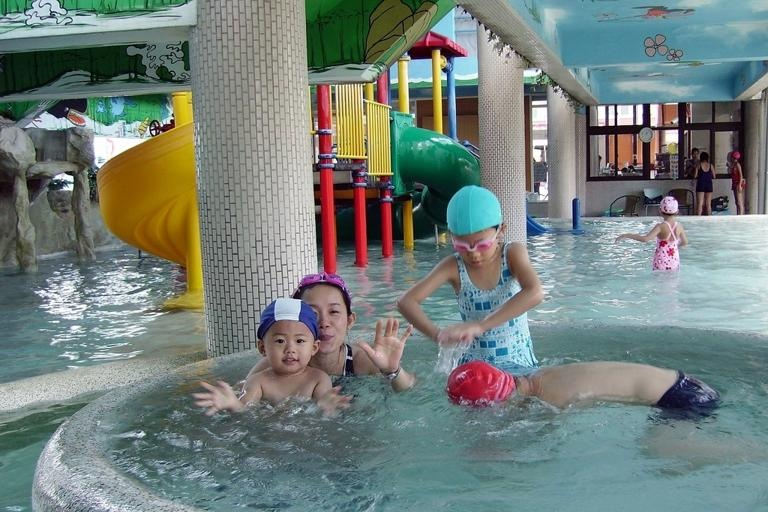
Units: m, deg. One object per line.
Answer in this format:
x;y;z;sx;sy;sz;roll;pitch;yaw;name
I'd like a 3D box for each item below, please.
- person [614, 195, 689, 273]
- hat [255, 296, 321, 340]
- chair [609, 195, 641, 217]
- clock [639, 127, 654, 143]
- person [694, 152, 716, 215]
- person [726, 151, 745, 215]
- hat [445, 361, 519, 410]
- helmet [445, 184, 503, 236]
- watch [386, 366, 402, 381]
3.250;-0.257;6.780;0.393;0.873;0.712;11;17;43;person
-0.428;0.287;2.558;0.270;0.189;0.121;-2;13;-6;hat
6.752;-1.399;16.145;0.641;0.802;0.669;4;-2;-13;chair
7.212;-3.329;15.906;0.361;0.409;0.512;4;13;22;clock
8.210;-1.842;14.835;0.422;1.583;0.760;5;14;27;person
9.194;-1.890;15.040;0.477;1.615;1.277;6;15;31;person
0.448;0.563;2.644;0.336;0.160;0.220;-2;15;6;hat
0.436;-0.218;2.708;0.291;0.234;0.297;-2;-2;3;helmet
0.047;0.562;2.746;0.038;0.072;0.060;25;29;26;watch
